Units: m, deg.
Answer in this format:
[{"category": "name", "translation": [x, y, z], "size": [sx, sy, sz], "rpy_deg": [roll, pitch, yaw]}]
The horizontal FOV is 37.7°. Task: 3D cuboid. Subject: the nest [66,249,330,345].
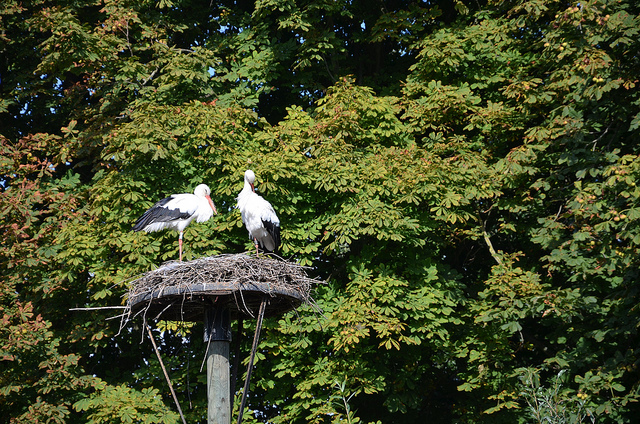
[{"category": "nest", "translation": [-1.714, 1.262, 16.483], "size": [3.159, 1.061, 0.664], "rpy_deg": [-5, -12, -7]}]
